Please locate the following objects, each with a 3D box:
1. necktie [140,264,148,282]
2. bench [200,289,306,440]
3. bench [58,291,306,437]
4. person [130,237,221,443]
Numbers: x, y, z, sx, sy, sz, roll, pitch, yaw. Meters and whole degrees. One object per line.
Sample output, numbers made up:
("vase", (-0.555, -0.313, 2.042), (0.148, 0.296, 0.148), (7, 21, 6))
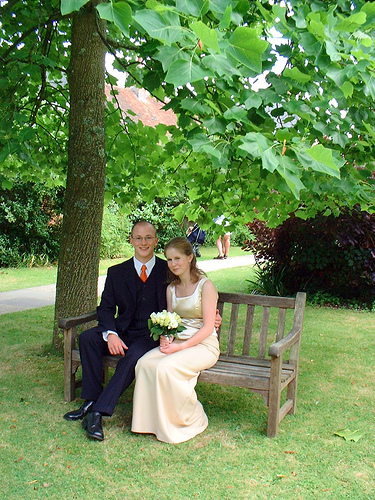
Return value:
("necktie", (-0.368, 0.192, 3.279), (0.047, 0.132, 0.040), (6, -23, -10))
("bench", (0.264, 0.854, 3.271), (1.292, 0.946, 0.748), (4, 2, 32))
("bench", (-0.093, 0.884, 3.354), (2.023, 1.054, 0.868), (1, 2, 24))
("person", (-0.056, 0.599, 2.889), (0.480, 1.179, 0.691), (1, 0, 19))
